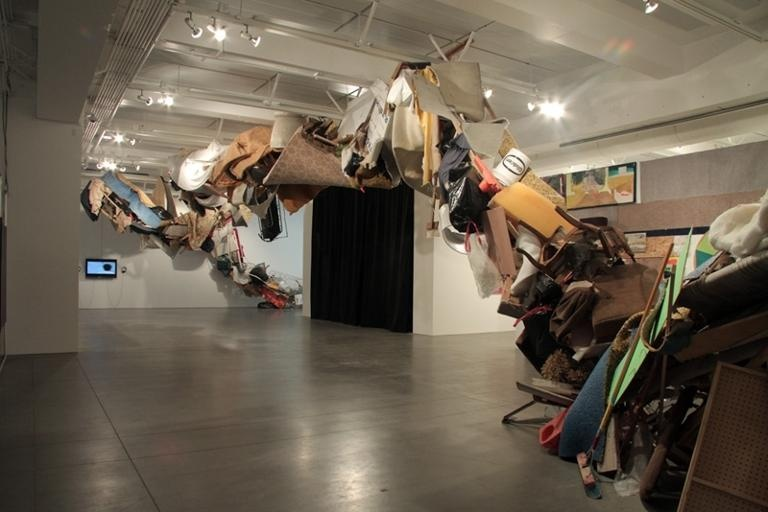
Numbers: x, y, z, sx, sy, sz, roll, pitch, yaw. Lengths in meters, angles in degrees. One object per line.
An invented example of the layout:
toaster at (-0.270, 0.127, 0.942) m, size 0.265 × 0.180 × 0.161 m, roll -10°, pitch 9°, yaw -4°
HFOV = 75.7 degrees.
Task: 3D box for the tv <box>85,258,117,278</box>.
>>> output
tv at (-7.783, 0.347, 13.665) m, size 0.807 × 0.543 × 0.255 m, roll 0°, pitch 2°, yaw -32°

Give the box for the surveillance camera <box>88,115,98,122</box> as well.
surveillance camera at (-4.291, -2.029, 7.314) m, size 0.107 × 0.045 × 0.120 m, roll -1°, pitch 1°, yaw -21°
